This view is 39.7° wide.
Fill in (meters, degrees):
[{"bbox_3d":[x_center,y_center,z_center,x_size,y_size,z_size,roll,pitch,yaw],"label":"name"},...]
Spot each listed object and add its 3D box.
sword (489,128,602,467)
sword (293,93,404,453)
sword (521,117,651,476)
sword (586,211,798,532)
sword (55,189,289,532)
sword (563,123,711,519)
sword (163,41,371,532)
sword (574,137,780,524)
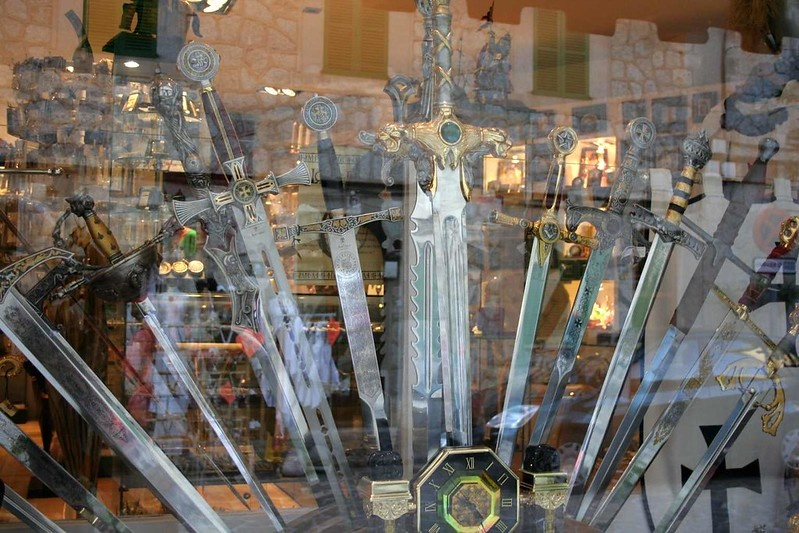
[{"bbox_3d":[0.502,0.148,4.036,0.350,0.098,1.285,8,-91,-11],"label":"sword"},{"bbox_3d":[-0.175,0.037,3.923,0.332,0.052,1.251,-10,-90,-6],"label":"sword"},{"bbox_3d":[0.706,0.110,4.243,0.368,0.117,1.378,19,-92,5],"label":"sword"},{"bbox_3d":[1.310,0.292,4.476,0.485,0.151,1.585,35,-98,-14],"label":"sword"},{"bbox_3d":[-0.784,0.338,3.817,0.433,0.139,1.181,-30,-92,-24],"label":"sword"},{"bbox_3d":[0.846,0.241,4.327,0.355,0.135,1.683,21,-89,-16],"label":"sword"},{"bbox_3d":[-0.490,0.098,4.031,0.420,0.156,1.795,-21,-81,-11],"label":"sword"},{"bbox_3d":[1.093,0.223,4.340,0.471,0.085,1.795,25,-91,23],"label":"sword"}]
